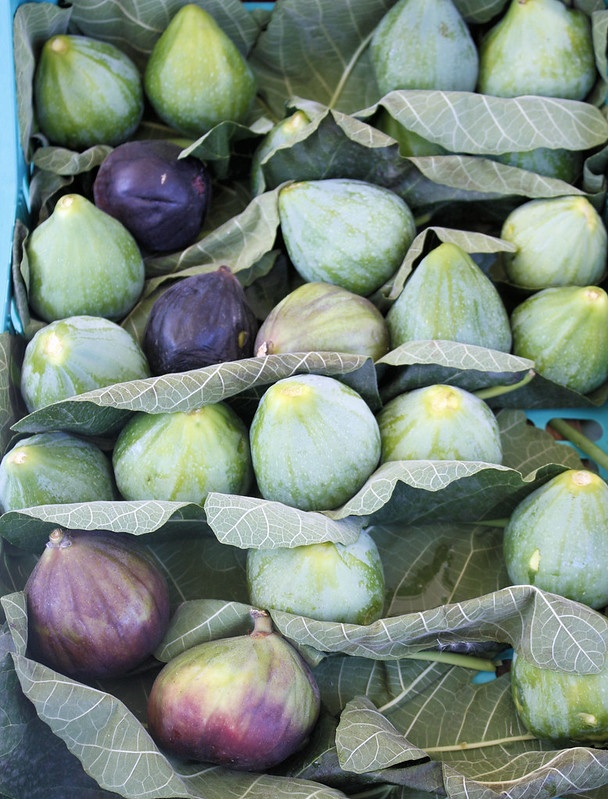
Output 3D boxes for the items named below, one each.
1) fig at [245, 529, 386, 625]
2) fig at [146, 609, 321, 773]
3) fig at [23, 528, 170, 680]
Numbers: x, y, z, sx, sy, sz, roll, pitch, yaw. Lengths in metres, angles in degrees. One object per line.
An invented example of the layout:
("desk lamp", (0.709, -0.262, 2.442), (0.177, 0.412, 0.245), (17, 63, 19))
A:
("fig", (0.019, 0.221, 1.045), (0.137, 0.115, 0.139), (20, 59, 23))
("fig", (-0.084, 0.354, 0.963), (0.207, 0.111, 0.168), (-13, 35, -6))
("fig", (-0.251, 0.246, 0.967), (0.153, 0.138, 0.144), (22, 46, 39))
